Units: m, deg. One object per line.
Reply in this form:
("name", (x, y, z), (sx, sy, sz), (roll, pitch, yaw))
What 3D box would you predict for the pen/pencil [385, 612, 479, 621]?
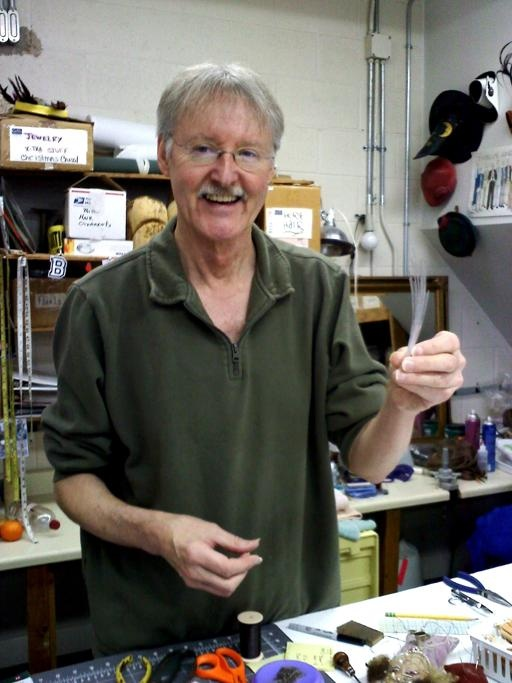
("pen/pencil", (0.355, 0.561, 1.294), (0.158, 0.011, 0.012), (2, 17, -1))
